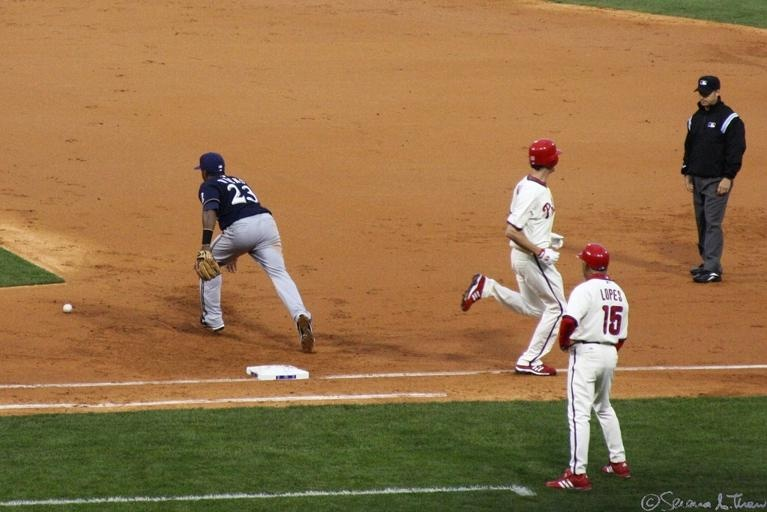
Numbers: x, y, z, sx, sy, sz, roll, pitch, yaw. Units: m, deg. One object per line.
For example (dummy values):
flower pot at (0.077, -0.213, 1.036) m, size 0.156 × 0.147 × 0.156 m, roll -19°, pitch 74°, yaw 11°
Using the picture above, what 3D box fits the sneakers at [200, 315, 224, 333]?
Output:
sneakers at (-3.313, 1.361, 33.254) m, size 0.594 × 0.230 × 0.207 m, roll 16°, pitch 31°, yaw 28°

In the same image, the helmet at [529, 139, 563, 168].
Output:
helmet at (2.887, -1.800, 31.337) m, size 0.505 × 0.451 × 0.604 m, roll -10°, pitch 23°, yaw 30°

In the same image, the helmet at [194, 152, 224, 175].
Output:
helmet at (-3.334, -1.703, 32.798) m, size 0.437 × 0.303 × 0.621 m, roll -8°, pitch 19°, yaw -31°

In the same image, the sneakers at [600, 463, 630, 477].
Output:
sneakers at (3.963, 3.605, 29.113) m, size 0.547 × 0.201 × 0.190 m, roll 5°, pitch 9°, yaw 27°

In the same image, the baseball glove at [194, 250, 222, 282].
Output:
baseball glove at (-3.326, 0.243, 32.234) m, size 0.328 × 0.457 × 0.557 m, roll 0°, pitch 45°, yaw -37°

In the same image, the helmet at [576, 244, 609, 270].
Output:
helmet at (3.568, 0.029, 29.279) m, size 0.404 × 0.260 × 0.502 m, roll -8°, pitch 36°, yaw -20°

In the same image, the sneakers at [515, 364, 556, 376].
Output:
sneakers at (2.804, 2.121, 31.602) m, size 0.722 × 0.254 × 0.248 m, roll 0°, pitch 1°, yaw 3°

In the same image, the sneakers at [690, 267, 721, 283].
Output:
sneakers at (6.583, 0.453, 35.376) m, size 0.670 × 0.249 × 0.242 m, roll 7°, pitch 13°, yaw 8°

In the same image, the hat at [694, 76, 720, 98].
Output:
hat at (6.509, -3.285, 34.494) m, size 0.383 × 0.388 × 0.696 m, roll 2°, pitch 8°, yaw 7°
